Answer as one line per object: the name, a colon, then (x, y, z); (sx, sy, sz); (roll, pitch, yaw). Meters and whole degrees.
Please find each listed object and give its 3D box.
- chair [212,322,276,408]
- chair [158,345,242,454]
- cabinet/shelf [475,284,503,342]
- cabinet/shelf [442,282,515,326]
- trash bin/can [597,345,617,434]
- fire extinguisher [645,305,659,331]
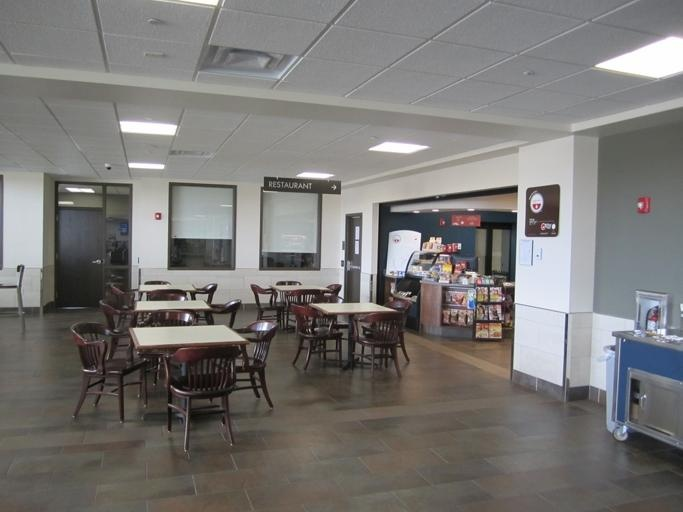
chair: (-1.186, 1.279, 5.745); (0.753, 0.904, 0.736); (3, 1, -10)
chair: (-1.510, 1.362, 5.080); (0.688, 1.043, 1.264); (1, 1, -20)
cabinet/shelf: (2.990, 1.152, 9.794); (0.663, 1.169, 0.297); (1, -5, 2)
cabinet/shelf: (2.878, 0.971, 10.080); (1.288, 0.431, 0.766); (-8, 18, 15)
trash bin/can: (2.983, 1.452, 5.421); (0.231, 0.731, 0.229); (-5, -18, 28)
fire extinguisher: (3.346, 0.668, 5.142); (0.075, 0.220, 0.177); (3, 2, -33)
